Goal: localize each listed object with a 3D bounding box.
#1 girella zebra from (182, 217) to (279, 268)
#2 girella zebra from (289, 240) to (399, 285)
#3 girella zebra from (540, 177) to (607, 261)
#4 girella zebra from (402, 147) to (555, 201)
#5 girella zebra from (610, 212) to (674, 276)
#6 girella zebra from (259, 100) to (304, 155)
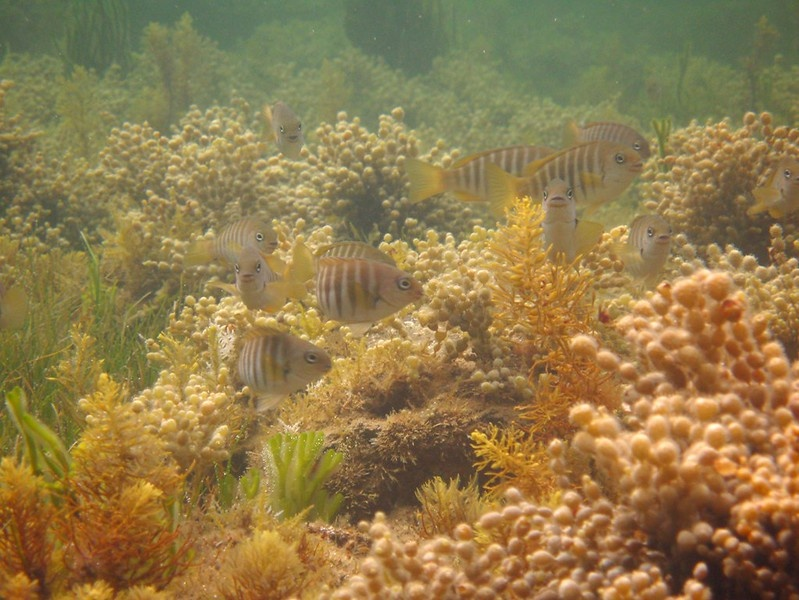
[{"bbox_3d":[-2.143,-0.697,11.081,1.042,0.593,0.235,-7,-5,2],"label":"girella zebra"},{"bbox_3d":[-0.673,-0.364,10.032,1.253,0.307,0.674,8,57,-25],"label":"girella zebra"},{"bbox_3d":[1.880,-0.889,9.898,0.472,0.985,0.470,-1,62,14],"label":"girella zebra"},{"bbox_3d":[1.072,-1.416,10.783,1.895,0.515,0.866,1,63,-4],"label":"girella zebra"},{"bbox_3d":[2.864,-0.644,10.342,0.622,0.702,0.279,6,24,28],"label":"girella zebra"},{"bbox_3d":[-1.504,-2.219,11.392,0.361,0.692,0.621,-14,24,-20],"label":"girella zebra"}]
